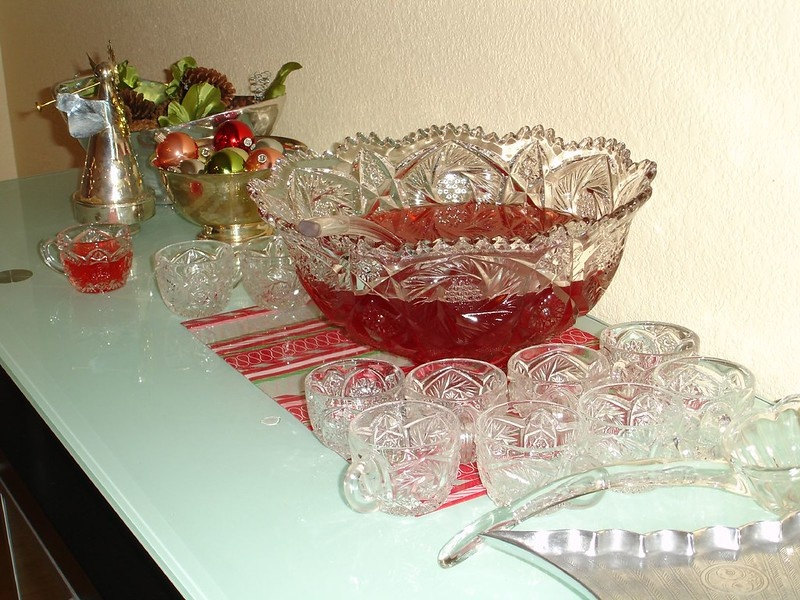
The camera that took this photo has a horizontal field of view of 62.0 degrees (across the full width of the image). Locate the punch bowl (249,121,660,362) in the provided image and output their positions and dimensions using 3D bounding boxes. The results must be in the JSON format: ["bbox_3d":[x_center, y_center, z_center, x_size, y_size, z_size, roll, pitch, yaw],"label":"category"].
[{"bbox_3d":[0.095,-0.081,0.759,0.366,0.237,0.352,-8,27,4],"label":"punch bowl"}]

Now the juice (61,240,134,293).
[{"bbox_3d":[-0.438,-0.047,0.964,0.103,0.070,0.094,-6,8,-17],"label":"juice"}]

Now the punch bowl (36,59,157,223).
[{"bbox_3d":[-0.480,-0.253,1.079,0.153,0.238,0.149,4,24,-2],"label":"punch bowl"}]

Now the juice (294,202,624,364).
[{"bbox_3d":[0.090,-0.003,0.773,0.360,0.162,0.363,0,4,32],"label":"juice"}]

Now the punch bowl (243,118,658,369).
[{"bbox_3d":[0.087,-0.082,0.768,0.362,0.236,0.363,-7,27,4],"label":"punch bowl"}]

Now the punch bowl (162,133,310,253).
[{"bbox_3d":[-0.278,-0.158,1.004,0.169,0.079,0.173,-1,24,0],"label":"punch bowl"}]
